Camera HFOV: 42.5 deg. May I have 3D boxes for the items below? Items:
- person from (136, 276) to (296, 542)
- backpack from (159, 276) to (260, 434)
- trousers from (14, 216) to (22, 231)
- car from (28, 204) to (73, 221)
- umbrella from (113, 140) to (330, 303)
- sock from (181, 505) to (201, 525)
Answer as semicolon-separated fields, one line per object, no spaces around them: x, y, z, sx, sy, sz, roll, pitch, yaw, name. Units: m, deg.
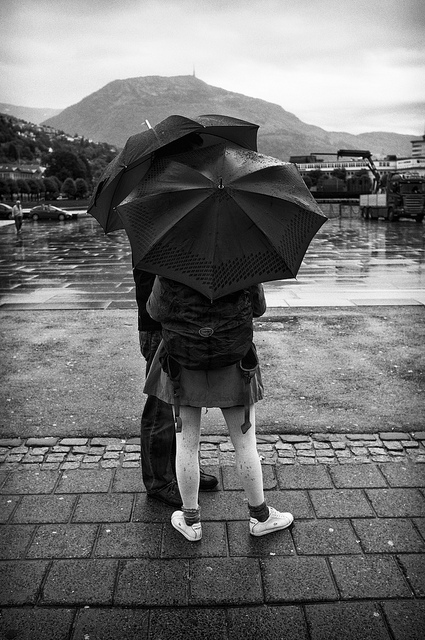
0.022;0.225;2.541;0.703;1.712;0.582;-1;12;-4;person
-0.010;0.080;2.438;0.485;0.818;0.483;-3;5;-8;backpack
-11.796;-5.815;33.075;0.298;0.876;0.822;-4;9;-24;trousers
-14.133;-9.143;46.982;3.531;1.327;1.117;2;9;12;car
0.043;-0.420;2.227;0.854;0.618;0.441;-2;8;-11;umbrella
-0.102;0.951;2.647;0.081;0.075;0.072;-1;2;-40;sock
